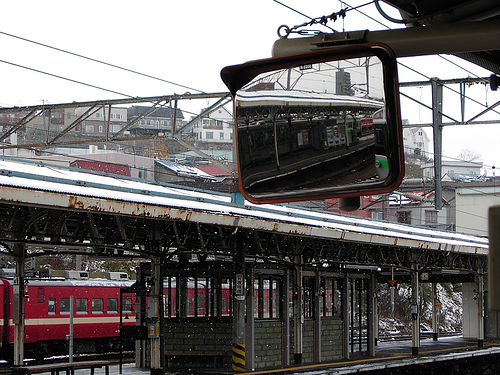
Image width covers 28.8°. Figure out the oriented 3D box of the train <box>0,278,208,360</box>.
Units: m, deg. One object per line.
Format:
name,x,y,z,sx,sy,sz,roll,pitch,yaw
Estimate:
train,-5.553,4.549,35.422,7.023,3.308,14.480,1,-10,-12
